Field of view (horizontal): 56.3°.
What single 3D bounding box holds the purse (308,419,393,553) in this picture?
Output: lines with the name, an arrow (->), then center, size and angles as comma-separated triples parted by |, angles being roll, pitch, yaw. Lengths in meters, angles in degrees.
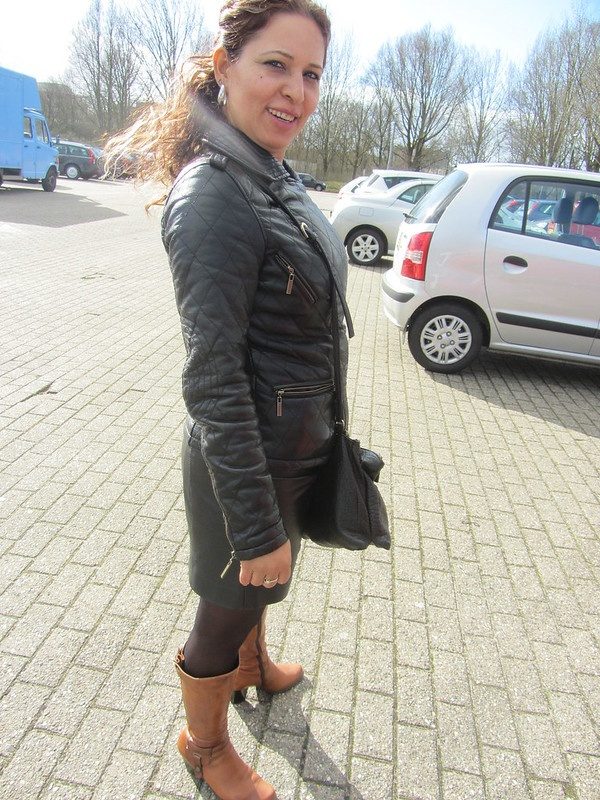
purse -> 0.122, 0.179, 1.345 | 0.188, 0.329, 0.283 | -1, -2, 11

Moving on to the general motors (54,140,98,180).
general motors -> -11.373, -12.295, 28.859 | 1.995, 1.779, 1.214 | 2, 21, -4

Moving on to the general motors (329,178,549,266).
general motors -> 2.568, -3.417, 11.100 | 3.693, 1.520, 1.791 | -8, 28, -1

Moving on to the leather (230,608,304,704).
leather -> -0.106, 0.817, 1.833 | 0.244, 0.349, 0.094 | -10, 28, -20

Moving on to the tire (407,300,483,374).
tire -> 1.384, -0.633, 5.356 | 0.526, 0.523, 0.170 | -24, 11, 25
